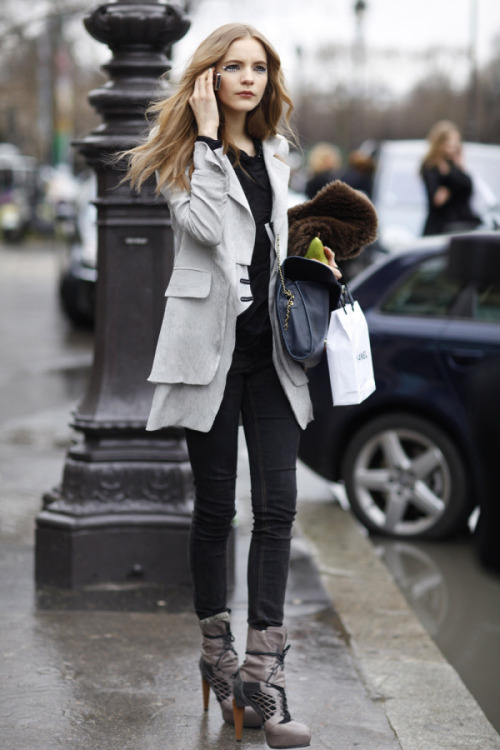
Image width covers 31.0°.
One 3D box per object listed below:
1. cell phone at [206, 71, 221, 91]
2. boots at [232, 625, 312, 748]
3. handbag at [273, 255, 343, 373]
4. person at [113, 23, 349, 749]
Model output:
[{"bbox_3d":[-0.096,-0.744,2.281,0.027,0.054,0.061,3,4,16],"label":"cell phone"},{"bbox_3d":[0.052,0.780,2.230,0.166,0.285,0.194,0,4,-18],"label":"boots"},{"bbox_3d":[0.111,-0.167,2.329,0.140,0.260,0.228,-18,12,7],"label":"handbag"},{"bbox_3d":[-0.079,0.015,2.313,0.483,1.814,0.444,1,4,0],"label":"person"}]
